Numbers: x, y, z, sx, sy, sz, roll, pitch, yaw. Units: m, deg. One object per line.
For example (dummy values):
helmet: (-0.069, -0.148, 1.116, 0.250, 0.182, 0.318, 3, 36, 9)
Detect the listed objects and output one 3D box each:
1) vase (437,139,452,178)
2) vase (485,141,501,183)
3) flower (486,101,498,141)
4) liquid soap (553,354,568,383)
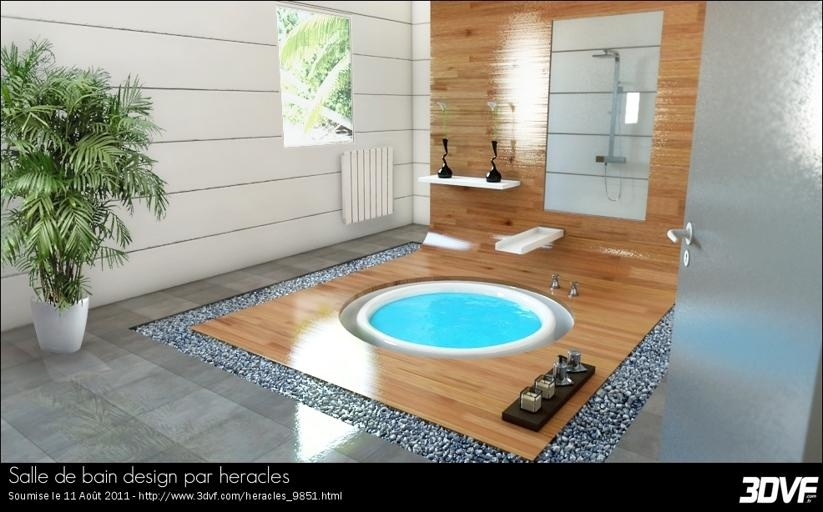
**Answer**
vase: (0.452, -1.273, 5.916, 0.188, 0.499, 0.291, 2, 20, 5)
vase: (1.020, -1.159, 5.565, 0.175, 0.486, 0.312, 4, 20, 9)
flower: (0.997, -1.681, 5.602, 0.080, 0.459, 0.191, -19, 28, -40)
liquid soap: (1.079, 0.823, 3.245, 0.127, 0.162, 0.179, 5, 20, 13)
